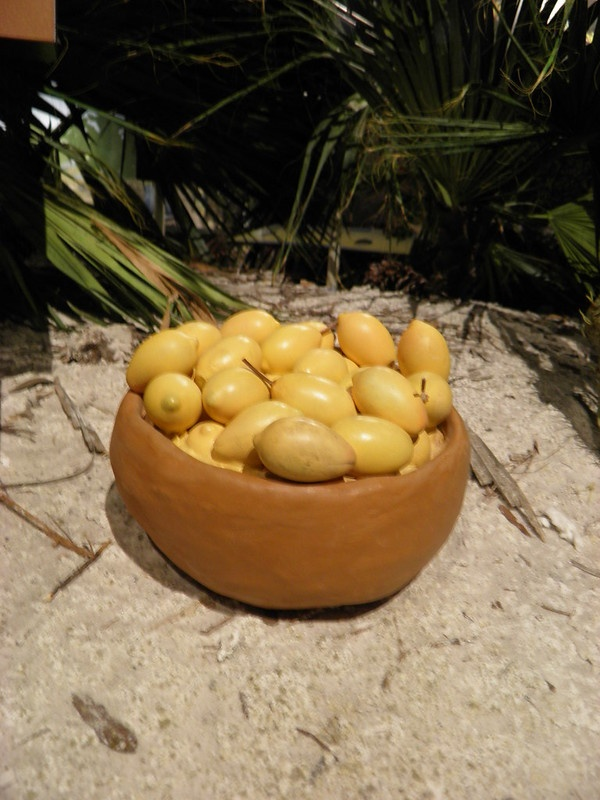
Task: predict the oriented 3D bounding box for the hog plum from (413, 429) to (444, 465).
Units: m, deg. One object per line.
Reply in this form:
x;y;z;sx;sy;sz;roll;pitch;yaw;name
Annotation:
0.197;0.075;1.139;0.039;0.025;0.069;-2;21;16;hog plum

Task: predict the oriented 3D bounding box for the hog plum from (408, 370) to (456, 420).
0.203;-0.006;1.135;0.056;0.051;0.062;28;12;-29;hog plum

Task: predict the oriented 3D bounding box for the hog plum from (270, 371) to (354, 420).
0.021;-0.005;1.106;0.110;0.058;0.058;12;3;13;hog plum

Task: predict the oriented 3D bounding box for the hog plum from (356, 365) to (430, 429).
0.143;-0.010;1.122;0.098;0.081;0.146;-3;-7;-28;hog plum

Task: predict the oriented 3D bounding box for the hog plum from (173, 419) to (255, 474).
-0.130;0.069;1.074;0.106;0.030;0.072;16;19;9;hog plum

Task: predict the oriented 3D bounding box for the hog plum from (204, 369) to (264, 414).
-0.104;-0.017;1.129;0.088;0.062;0.061;-17;13;-29;hog plum

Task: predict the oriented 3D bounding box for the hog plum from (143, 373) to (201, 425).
-0.187;0.006;1.075;0.081;0.076;0.091;11;-5;2;hog plum

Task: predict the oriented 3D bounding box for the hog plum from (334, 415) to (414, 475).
0.110;0.067;1.066;0.108;0.068;0.059;7;-13;-7;hog plum

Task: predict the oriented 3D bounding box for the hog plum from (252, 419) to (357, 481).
0.004;0.071;1.007;0.148;0.086;0.087;7;41;-6;hog plum

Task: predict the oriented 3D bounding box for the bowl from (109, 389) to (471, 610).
-0.032;0.147;1.271;0.598;0.235;0.578;7;18;-2;bowl
